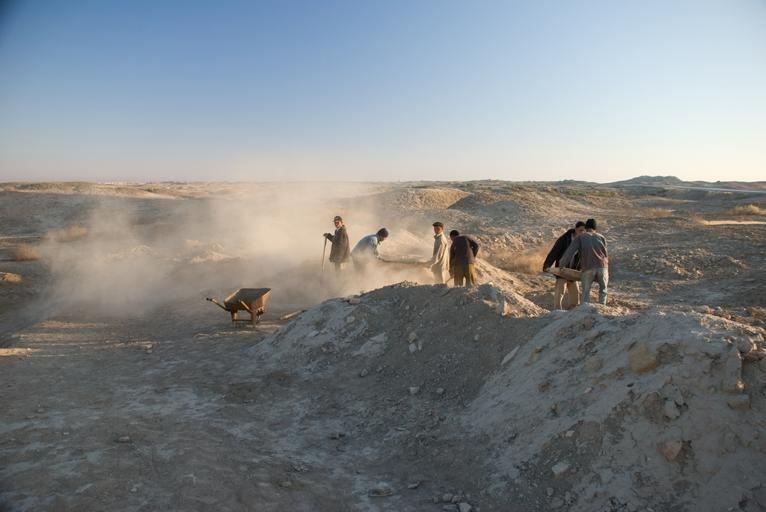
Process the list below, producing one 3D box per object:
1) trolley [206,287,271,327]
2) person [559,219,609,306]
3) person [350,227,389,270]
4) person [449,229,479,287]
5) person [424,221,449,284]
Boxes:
[{"bbox_3d":[-3.427,1.267,10.739,1.384,0.550,0.606,-8,-14,-2],"label":"trolley"},{"bbox_3d":[3.643,0.093,8.142,0.745,1.477,0.715,16,20,43],"label":"person"},{"bbox_3d":[-0.393,-0.178,12.857,0.921,0.665,1.571,13,-38,-29],"label":"person"},{"bbox_3d":[1.656,0.039,9.468,0.591,1.040,0.673,4,14,7],"label":"person"},{"bbox_3d":[1.252,-0.077,10.071,0.382,1.353,0.543,4,15,7],"label":"person"}]
